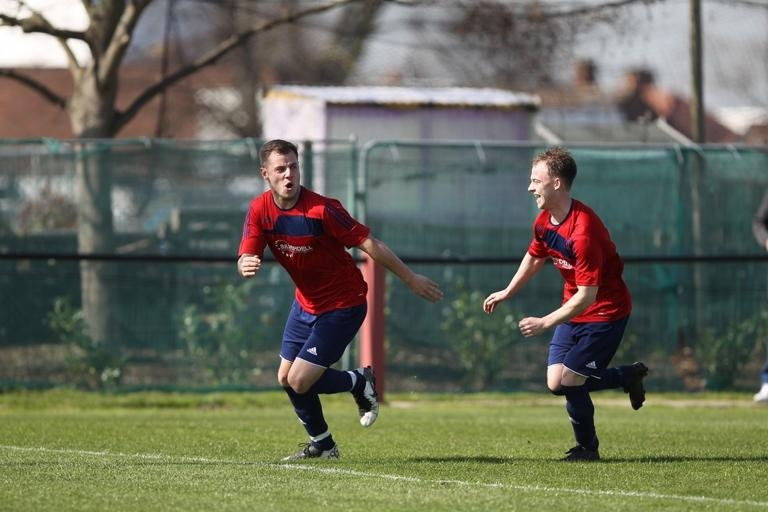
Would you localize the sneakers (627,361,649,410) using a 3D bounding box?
[{"bbox_3d":[2.303,1.164,15.780,0.221,0.469,0.173,-20,23,-30],"label":"sneakers"}]

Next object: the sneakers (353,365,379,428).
[{"bbox_3d":[-0.165,1.259,15.626,0.191,0.559,0.263,-6,9,27],"label":"sneakers"}]

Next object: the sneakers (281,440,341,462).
[{"bbox_3d":[-0.611,1.714,15.272,0.522,0.209,0.187,1,-1,-3],"label":"sneakers"}]

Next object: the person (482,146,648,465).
[{"bbox_3d":[1.719,0.416,15.241,1.230,2.736,1.065,2,10,8],"label":"person"}]
